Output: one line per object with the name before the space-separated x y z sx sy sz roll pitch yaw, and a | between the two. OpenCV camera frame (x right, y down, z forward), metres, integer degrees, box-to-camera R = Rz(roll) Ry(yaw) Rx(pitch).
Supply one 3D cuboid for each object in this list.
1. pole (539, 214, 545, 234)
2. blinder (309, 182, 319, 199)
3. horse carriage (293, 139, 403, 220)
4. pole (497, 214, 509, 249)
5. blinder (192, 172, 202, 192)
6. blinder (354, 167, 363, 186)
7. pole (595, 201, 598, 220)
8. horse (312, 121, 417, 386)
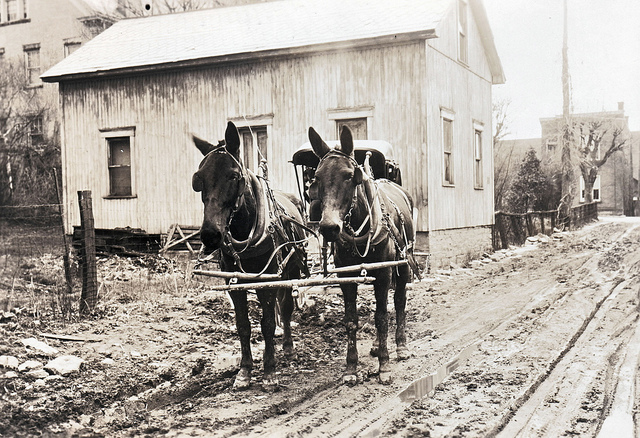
pole | 9.885 0.163 33.093 0.197 0.865 0.688 -2 -1 15
blinder | -0.122 -0.601 15.449 0.222 0.277 0.248 -7 7 9
horse carriage | 0.105 -0.976 16.680 1.845 1.964 2.182 -13 -2 34
pole | 7.199 0.434 29.131 0.356 1.340 0.704 -2 -1 24
blinder | -2.369 -0.742 14.294 0.171 0.323 0.366 -2 -1 -17
blinder | 0.763 -0.879 14.710 0.167 0.353 0.095 -2 -1 0
pole | 16.869 -0.561 45.460 0.112 1.098 0.664 -2 -1 26
horse | 1.071 0.694 15.587 1.357 5.047 3.200 -2 -1 25
